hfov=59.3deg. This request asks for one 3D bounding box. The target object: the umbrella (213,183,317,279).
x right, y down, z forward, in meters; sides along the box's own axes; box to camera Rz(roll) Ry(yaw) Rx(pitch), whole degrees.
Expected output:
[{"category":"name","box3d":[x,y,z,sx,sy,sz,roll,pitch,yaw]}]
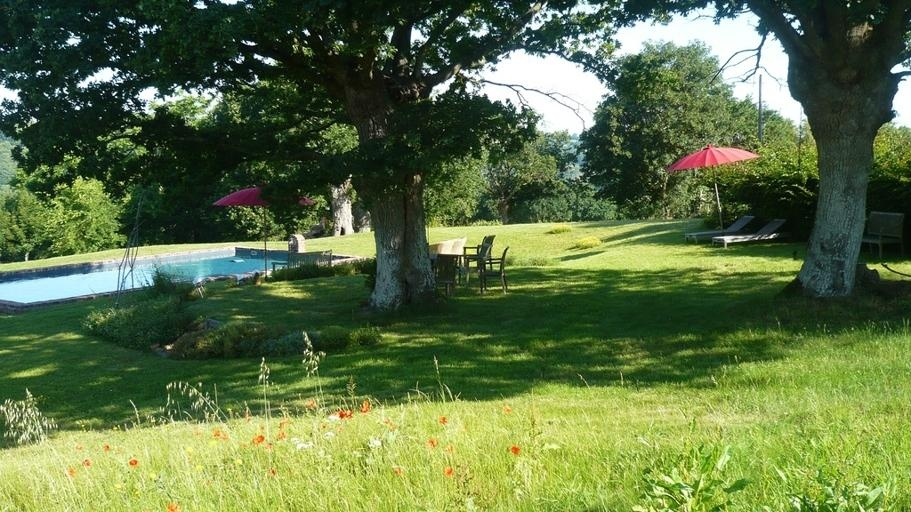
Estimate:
[{"category":"umbrella","box3d":[-9.018,-1.143,37.642,4.963,4.855,4.916,-6,12,-30]}]

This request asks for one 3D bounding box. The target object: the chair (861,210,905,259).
[{"category":"chair","box3d":[13.088,-0.714,24.405,1.064,1.257,1.816,2,15,28]}]
